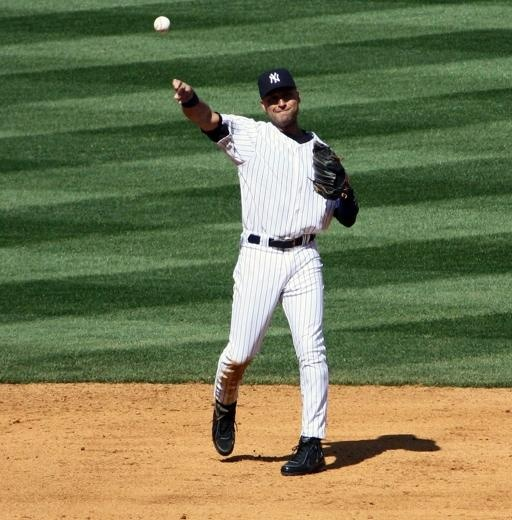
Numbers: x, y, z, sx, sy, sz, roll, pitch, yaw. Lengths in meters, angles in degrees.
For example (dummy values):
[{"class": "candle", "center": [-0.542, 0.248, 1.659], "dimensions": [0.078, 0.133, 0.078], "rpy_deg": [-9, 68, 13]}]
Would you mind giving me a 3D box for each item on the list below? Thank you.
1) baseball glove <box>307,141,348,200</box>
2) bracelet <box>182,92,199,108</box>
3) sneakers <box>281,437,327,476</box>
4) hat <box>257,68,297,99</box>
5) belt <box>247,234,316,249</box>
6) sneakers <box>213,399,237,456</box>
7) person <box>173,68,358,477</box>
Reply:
[{"class": "baseball glove", "center": [0.451, -0.581, 8.603], "dimensions": [0.170, 0.373, 0.228], "rpy_deg": [-15, 12, 7]}, {"class": "bracelet", "center": [-0.408, -0.980, 8.457], "dimensions": [0.083, 0.102, 0.095], "rpy_deg": [-2, -2, 3]}, {"class": "sneakers", "center": [0.324, 1.249, 8.698], "dimensions": [0.349, 0.222, 0.154], "rpy_deg": [-5, 8, -44]}, {"class": "hat", "center": [0.134, -1.122, 8.714], "dimensions": [0.160, 0.225, 0.219], "rpy_deg": [-12, -17, -5]}, {"class": "belt", "center": [0.151, -0.122, 8.650], "dimensions": [0.465, 0.114, 0.134], "rpy_deg": [4, 9, -3]}, {"class": "sneakers", "center": [-0.222, 1.125, 8.975], "dimensions": [0.130, 0.374, 0.206], "rpy_deg": [1, -23, -7]}, {"class": "person", "center": [0.111, 0.079, 8.699], "dimensions": [1.029, 2.556, 0.433], "rpy_deg": [5, 8, 7]}]
